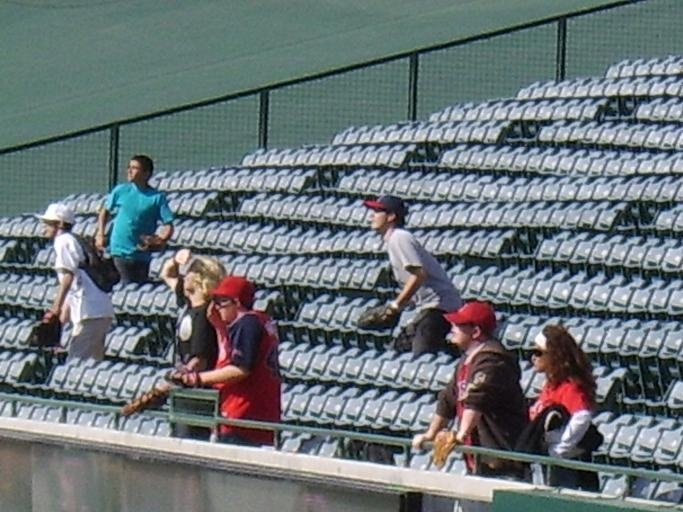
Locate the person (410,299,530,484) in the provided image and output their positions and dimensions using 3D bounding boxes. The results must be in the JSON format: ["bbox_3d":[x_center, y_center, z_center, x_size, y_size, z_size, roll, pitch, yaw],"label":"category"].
[{"bbox_3d":[1.364,1.295,21.723,1.029,1.645,0.366,-1,-6,3],"label":"person"}]

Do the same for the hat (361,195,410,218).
[{"bbox_3d":[0.482,-0.556,23.248,0.402,0.147,0.252,11,4,1],"label":"hat"}]

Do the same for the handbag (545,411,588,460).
[{"bbox_3d":[2.300,1.784,21.634,0.378,0.495,0.234,38,-4,13],"label":"handbag"}]

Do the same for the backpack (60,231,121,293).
[{"bbox_3d":[-2.764,0.055,23.954,0.667,0.260,0.486,46,10,-13],"label":"backpack"}]

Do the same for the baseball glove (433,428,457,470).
[{"bbox_3d":[1.040,1.949,21.636,0.243,0.363,0.148,7,3,32],"label":"baseball glove"}]

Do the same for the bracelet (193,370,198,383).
[{"bbox_3d":[-1.497,1.249,22.026,0.069,0.117,0.040,-2,-6,14],"label":"bracelet"}]

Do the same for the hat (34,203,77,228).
[{"bbox_3d":[-3.181,-0.472,23.985,0.373,0.188,0.269,12,-5,-6],"label":"hat"}]

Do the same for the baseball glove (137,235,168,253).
[{"bbox_3d":[-2.229,-0.160,25.078,0.320,0.160,0.272,0,-5,-4],"label":"baseball glove"}]

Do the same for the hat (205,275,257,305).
[{"bbox_3d":[-1.120,0.338,22.062,0.412,0.220,0.264,20,3,-6],"label":"hat"}]

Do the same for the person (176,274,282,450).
[{"bbox_3d":[-1.094,0.957,22.061,0.922,1.495,0.428,0,-6,-4],"label":"person"}]

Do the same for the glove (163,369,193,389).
[{"bbox_3d":[-1.712,1.268,22.137,0.231,0.080,0.171,7,-17,7],"label":"glove"}]

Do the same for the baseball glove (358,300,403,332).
[{"bbox_3d":[0.407,0.634,23.582,0.608,0.216,0.265,-4,-45,30],"label":"baseball glove"}]

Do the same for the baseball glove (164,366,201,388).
[{"bbox_3d":[-1.651,1.253,22.125,0.327,0.115,0.185,14,-13,-9],"label":"baseball glove"}]

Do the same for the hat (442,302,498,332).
[{"bbox_3d":[1.317,0.603,21.840,0.454,0.226,0.288,15,2,8],"label":"hat"}]
